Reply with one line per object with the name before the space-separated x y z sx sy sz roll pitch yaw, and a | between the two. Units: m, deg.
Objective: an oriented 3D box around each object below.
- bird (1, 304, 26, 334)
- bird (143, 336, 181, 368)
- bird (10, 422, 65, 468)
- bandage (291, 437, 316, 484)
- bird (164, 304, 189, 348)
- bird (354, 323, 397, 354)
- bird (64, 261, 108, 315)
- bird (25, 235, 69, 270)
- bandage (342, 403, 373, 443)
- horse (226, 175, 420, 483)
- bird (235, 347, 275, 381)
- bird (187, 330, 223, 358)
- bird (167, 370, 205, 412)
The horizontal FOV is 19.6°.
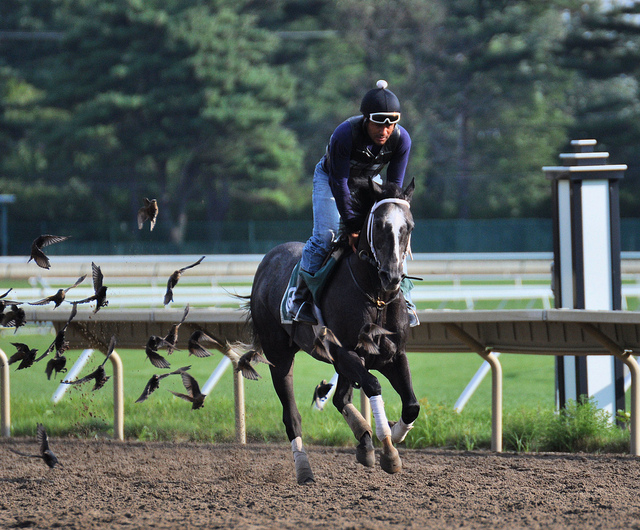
bird | -5.595 0.975 33.859 0.375 0.440 0.270 0 20 -23
bird | -2.966 1.560 33.534 0.524 0.571 0.229 -5 3 -44
bird | -5.196 3.264 33.591 0.978 0.640 0.967 -2 1 10
bandage | -0.360 3.499 33.440 0.276 0.923 0.271 -1 -28 -14
bird | -2.691 1.165 34.433 0.426 0.294 0.668 -20 2 10
bird | 0.949 1.298 32.684 0.378 0.615 0.468 1 11 -28
bird | -4.126 0.423 33.574 0.462 0.997 0.474 -4 5 -3
bird | -5.006 -0.242 33.696 0.523 0.479 0.746 -2 1 -9
bandage | 0.597 2.792 33.240 0.385 0.724 0.282 -33 -20 1
horse | 0.283 1.158 33.258 2.978 3.603 0.816 -1 1 28
bird | -1.261 1.786 33.522 0.256 0.500 0.702 25 2 11
bird | -2.164 1.460 33.822 0.493 0.246 0.535 14 -18 -22
bird | -2.330 2.311 33.659 0.447 0.728 0.766 0 -5 13
